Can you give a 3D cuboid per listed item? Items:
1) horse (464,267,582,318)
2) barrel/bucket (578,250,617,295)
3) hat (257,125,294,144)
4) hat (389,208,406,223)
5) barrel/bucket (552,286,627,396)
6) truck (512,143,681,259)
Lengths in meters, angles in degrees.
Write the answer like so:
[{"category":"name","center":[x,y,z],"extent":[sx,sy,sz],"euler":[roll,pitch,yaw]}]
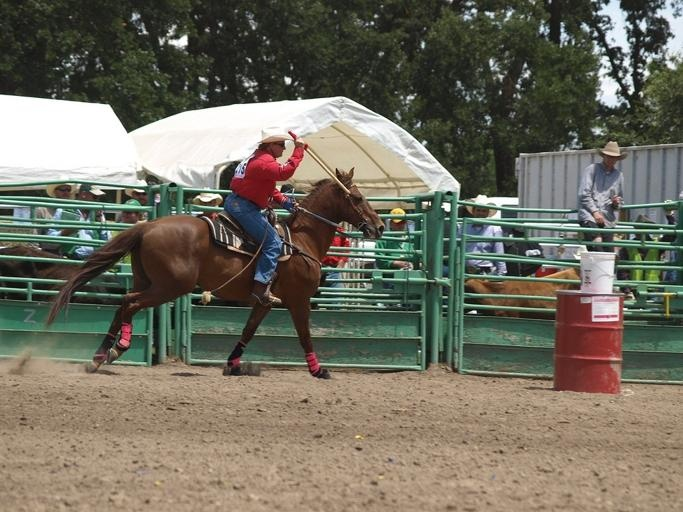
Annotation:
[{"category":"horse","center":[2.366,0.491,11.502],"extent":[1.498,0.332,0.753],"euler":[-2,10,0]},{"category":"barrel/bucket","center":[2.966,0.197,10.139],"extent":[0.648,0.416,0.523],"euler":[1,-6,0]},{"category":"hat","center":[-0.766,-1.432,10.317],"extent":[0.367,0.083,0.258],"euler":[0,-1,-11]},{"category":"hat","center":[0.747,-0.555,11.777],"extent":[0.250,0.105,0.275],"euler":[0,-1,-6]},{"category":"barrel/bucket","center":[2.866,1.011,10.168],"extent":[0.889,1.201,0.466],"euler":[7,17,9]},{"category":"truck","center":[4.216,-0.885,14.244],"extent":[1.192,1.217,3.054],"euler":[-24,20,-39]}]
